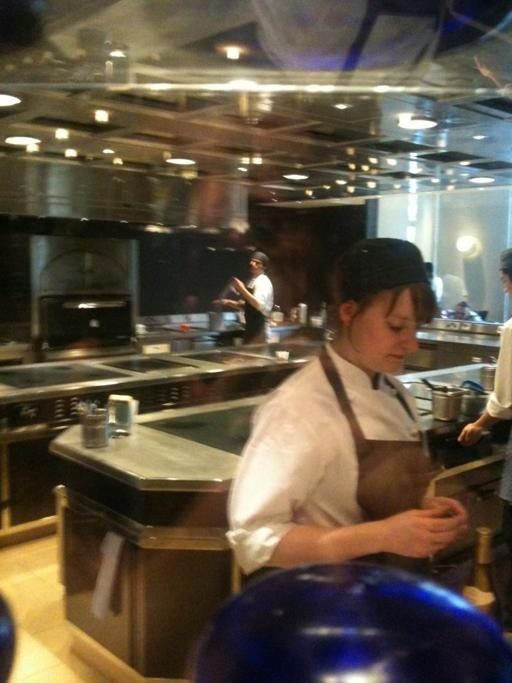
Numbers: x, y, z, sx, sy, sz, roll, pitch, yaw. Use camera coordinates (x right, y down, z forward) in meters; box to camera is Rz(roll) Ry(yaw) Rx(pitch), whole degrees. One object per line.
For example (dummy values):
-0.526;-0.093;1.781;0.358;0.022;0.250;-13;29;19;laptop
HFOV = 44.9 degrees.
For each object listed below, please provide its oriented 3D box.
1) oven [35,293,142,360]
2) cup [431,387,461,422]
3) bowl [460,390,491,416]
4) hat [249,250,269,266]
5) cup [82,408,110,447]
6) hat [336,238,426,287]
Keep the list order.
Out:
-1.362;-0.125;4.626;0.486;0.477;0.846;4;6;43;oven
0.679;0.226;2.251;0.123;0.102;0.118;0;2;0;cup
0.814;0.231;2.350;0.109;0.094;0.101;7;10;-1;bowl
0.007;-0.532;3.892;0.088;0.084;0.121;21;-3;35;hat
-0.502;0.275;1.993;0.105;0.098;0.114;0;3;0;cup
0.169;-0.112;0.825;0.090;0.040;0.081;-2;11;-17;hat
